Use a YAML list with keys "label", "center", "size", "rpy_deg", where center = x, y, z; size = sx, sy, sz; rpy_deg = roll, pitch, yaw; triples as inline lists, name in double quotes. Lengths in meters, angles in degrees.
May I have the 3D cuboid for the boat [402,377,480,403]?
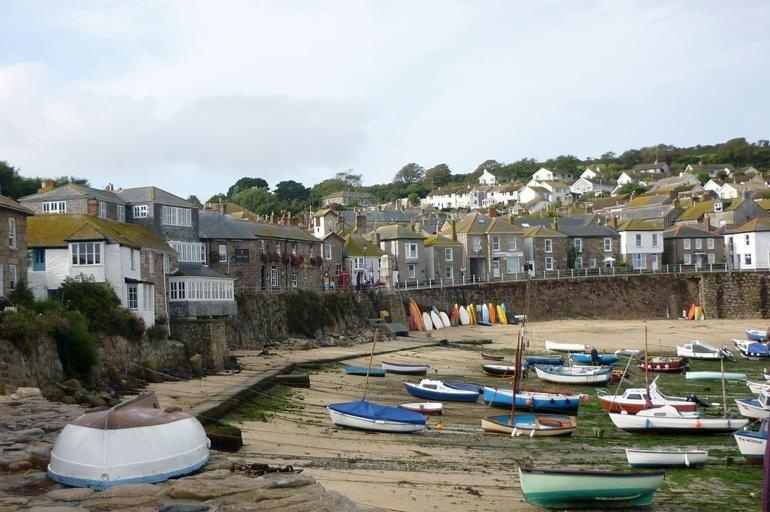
- label: "boat"
  center: [4.377, 10.520, 94.547]
  size: [5.982, 1.711, 2.052]
  rpy_deg: [5, -4, 7]
